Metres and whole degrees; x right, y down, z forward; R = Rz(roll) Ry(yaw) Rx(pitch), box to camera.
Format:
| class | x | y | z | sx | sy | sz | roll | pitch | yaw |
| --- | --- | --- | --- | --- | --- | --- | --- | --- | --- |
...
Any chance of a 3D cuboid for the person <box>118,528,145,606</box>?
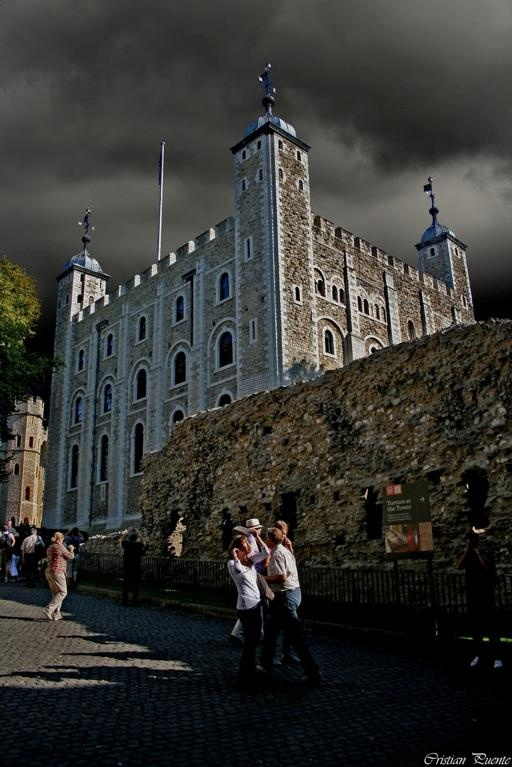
| class | x | y | z | sx | sy | sz | roll | pitch | yaw |
| --- | --- | --- | --- | --- | --- | --- | --- | --- | --- |
| person | -2.631 | 3.875 | 14.916 | 0.422 | 1.510 | 2.066 | 1 | -13 | -10 |

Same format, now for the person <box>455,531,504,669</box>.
| class | x | y | z | sx | sy | sz | roll | pitch | yaw |
| --- | --- | --- | --- | --- | --- | --- | --- | --- | --- |
| person | 2.578 | 2.481 | 8.143 | 0.395 | 1.491 | 0.580 | -5 | -14 | 15 |

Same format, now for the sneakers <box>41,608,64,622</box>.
| class | x | y | z | sx | sy | sz | roll | pitch | yaw |
| --- | --- | --- | --- | --- | --- | --- | --- | --- | --- |
| sneakers | -3.313 | 3.770 | 11.536 | 0.303 | 0.213 | 0.605 | 2 | -12 | -14 |
